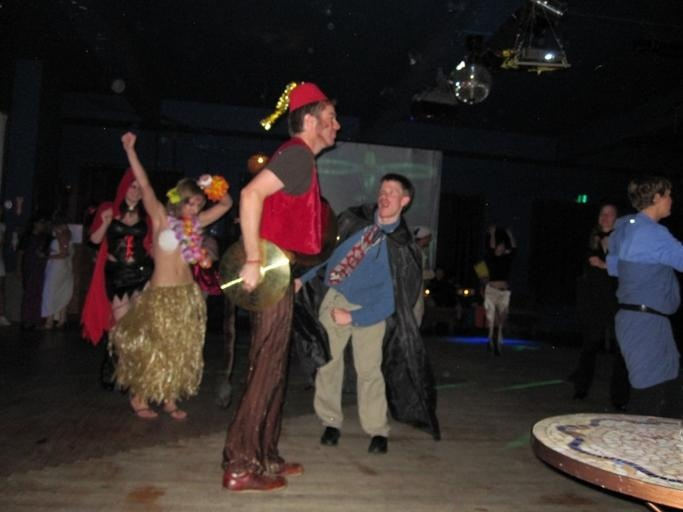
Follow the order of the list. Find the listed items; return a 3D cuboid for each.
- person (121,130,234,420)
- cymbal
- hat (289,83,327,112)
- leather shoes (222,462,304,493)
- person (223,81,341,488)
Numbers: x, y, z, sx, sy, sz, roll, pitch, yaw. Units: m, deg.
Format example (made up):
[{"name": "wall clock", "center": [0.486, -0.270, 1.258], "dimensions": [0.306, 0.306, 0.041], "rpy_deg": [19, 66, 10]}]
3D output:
[{"name": "person", "center": [-1.415, 0.176, 4.906], "dimensions": [0.880, 2.286, 0.463], "rpy_deg": [0, 4, -19]}, {"name": "cymbal", "center": [-0.505, 0.126, 3.538], "dimensions": [0.426, 0.441, 0.236], "rpy_deg": [1, 4, -12]}, {"name": "hat", "center": [-0.201, -1.013, 3.761], "dimensions": [0.208, 0.110, 0.170], "rpy_deg": [-15, -1, -38]}, {"name": "leather shoes", "center": [-0.479, 1.341, 3.763], "dimensions": [0.451, 0.181, 0.166], "rpy_deg": [-2, 0, -21]}, {"name": "person", "center": [-0.355, 0.179, 3.700], "dimensions": [0.709, 2.510, 0.419], "rpy_deg": [-2, 6, -43]}]
